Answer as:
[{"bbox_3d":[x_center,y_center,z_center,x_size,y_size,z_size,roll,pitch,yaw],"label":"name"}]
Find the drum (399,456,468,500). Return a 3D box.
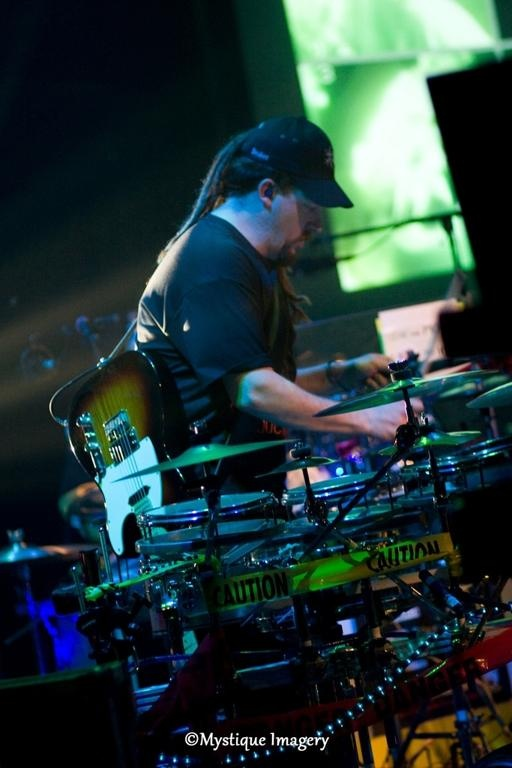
[{"bbox_3d":[0.518,0.278,2.305,0.177,0.094,0.345,-17,-8,7],"label":"drum"}]

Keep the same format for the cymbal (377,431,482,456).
[{"bbox_3d":[0.510,0.175,2.309,0.160,0.046,0.152,-9,4,-25],"label":"cymbal"}]

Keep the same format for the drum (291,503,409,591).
[{"bbox_3d":[0.234,0.426,2.117,0.317,0.075,0.174,-17,-9,-19],"label":"drum"}]

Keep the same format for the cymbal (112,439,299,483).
[{"bbox_3d":[-0.144,0.206,2.216,0.392,0.064,0.568,-14,-8,-4],"label":"cymbal"}]

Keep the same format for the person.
[{"bbox_3d":[0.120,-0.089,2.799,1.101,1.554,0.999,3,22,1],"label":"person"}]

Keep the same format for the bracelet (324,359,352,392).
[{"bbox_3d":[0.333,-0.034,3.186,0.096,0.115,0.048,-2,9,-5],"label":"bracelet"}]

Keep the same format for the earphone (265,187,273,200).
[{"bbox_3d":[0.045,-0.639,2.618,0.027,0.033,0.010,0,1,8],"label":"earphone"}]

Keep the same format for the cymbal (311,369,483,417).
[{"bbox_3d":[0.434,0.020,2.234,0.461,0.085,0.290,-11,-9,-27],"label":"cymbal"}]

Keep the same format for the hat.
[{"bbox_3d":[0.157,-0.792,2.690,0.433,0.222,0.287,21,19,-4],"label":"hat"}]
